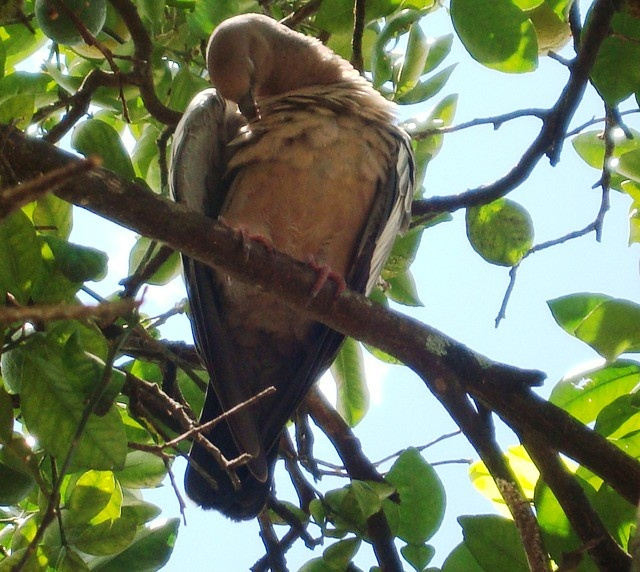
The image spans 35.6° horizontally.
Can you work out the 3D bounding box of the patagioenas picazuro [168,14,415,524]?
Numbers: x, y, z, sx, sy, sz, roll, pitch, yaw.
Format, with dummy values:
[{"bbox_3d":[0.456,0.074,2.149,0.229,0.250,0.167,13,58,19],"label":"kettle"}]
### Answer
[{"bbox_3d":[-0.094,-0.250,3.694,0.730,0.757,1.984,7,-81,-9],"label":"patagioenas picazuro"}]
